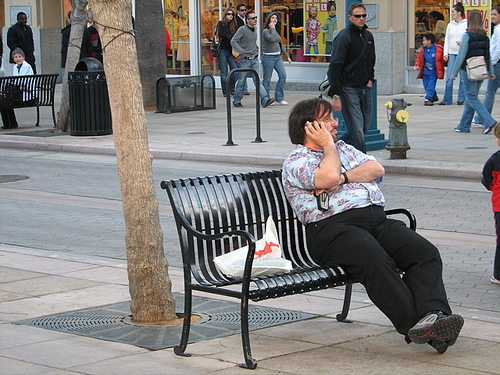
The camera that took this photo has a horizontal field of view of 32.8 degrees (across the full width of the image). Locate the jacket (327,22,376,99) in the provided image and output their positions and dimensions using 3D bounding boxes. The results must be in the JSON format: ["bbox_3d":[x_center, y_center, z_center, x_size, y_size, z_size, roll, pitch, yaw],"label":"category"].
[{"bbox_3d":[1.477,-1.842,12.504,0.837,1.059,0.294,-8,14,-28],"label":"jacket"}]

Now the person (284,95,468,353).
[{"bbox_3d":[0.907,0.247,6.419,0.581,1.719,1.538,-12,16,-39],"label":"person"}]

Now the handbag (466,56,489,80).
[{"bbox_3d":[4.177,-2.182,15.811,0.404,0.427,0.234,-9,-17,13],"label":"handbag"}]

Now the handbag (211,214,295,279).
[{"bbox_3d":[0.032,0.429,6.373,0.504,0.237,0.663,-3,16,9],"label":"handbag"}]

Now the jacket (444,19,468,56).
[{"bbox_3d":[4.884,-3.474,19.991,0.670,0.860,0.516,8,13,40],"label":"jacket"}]
